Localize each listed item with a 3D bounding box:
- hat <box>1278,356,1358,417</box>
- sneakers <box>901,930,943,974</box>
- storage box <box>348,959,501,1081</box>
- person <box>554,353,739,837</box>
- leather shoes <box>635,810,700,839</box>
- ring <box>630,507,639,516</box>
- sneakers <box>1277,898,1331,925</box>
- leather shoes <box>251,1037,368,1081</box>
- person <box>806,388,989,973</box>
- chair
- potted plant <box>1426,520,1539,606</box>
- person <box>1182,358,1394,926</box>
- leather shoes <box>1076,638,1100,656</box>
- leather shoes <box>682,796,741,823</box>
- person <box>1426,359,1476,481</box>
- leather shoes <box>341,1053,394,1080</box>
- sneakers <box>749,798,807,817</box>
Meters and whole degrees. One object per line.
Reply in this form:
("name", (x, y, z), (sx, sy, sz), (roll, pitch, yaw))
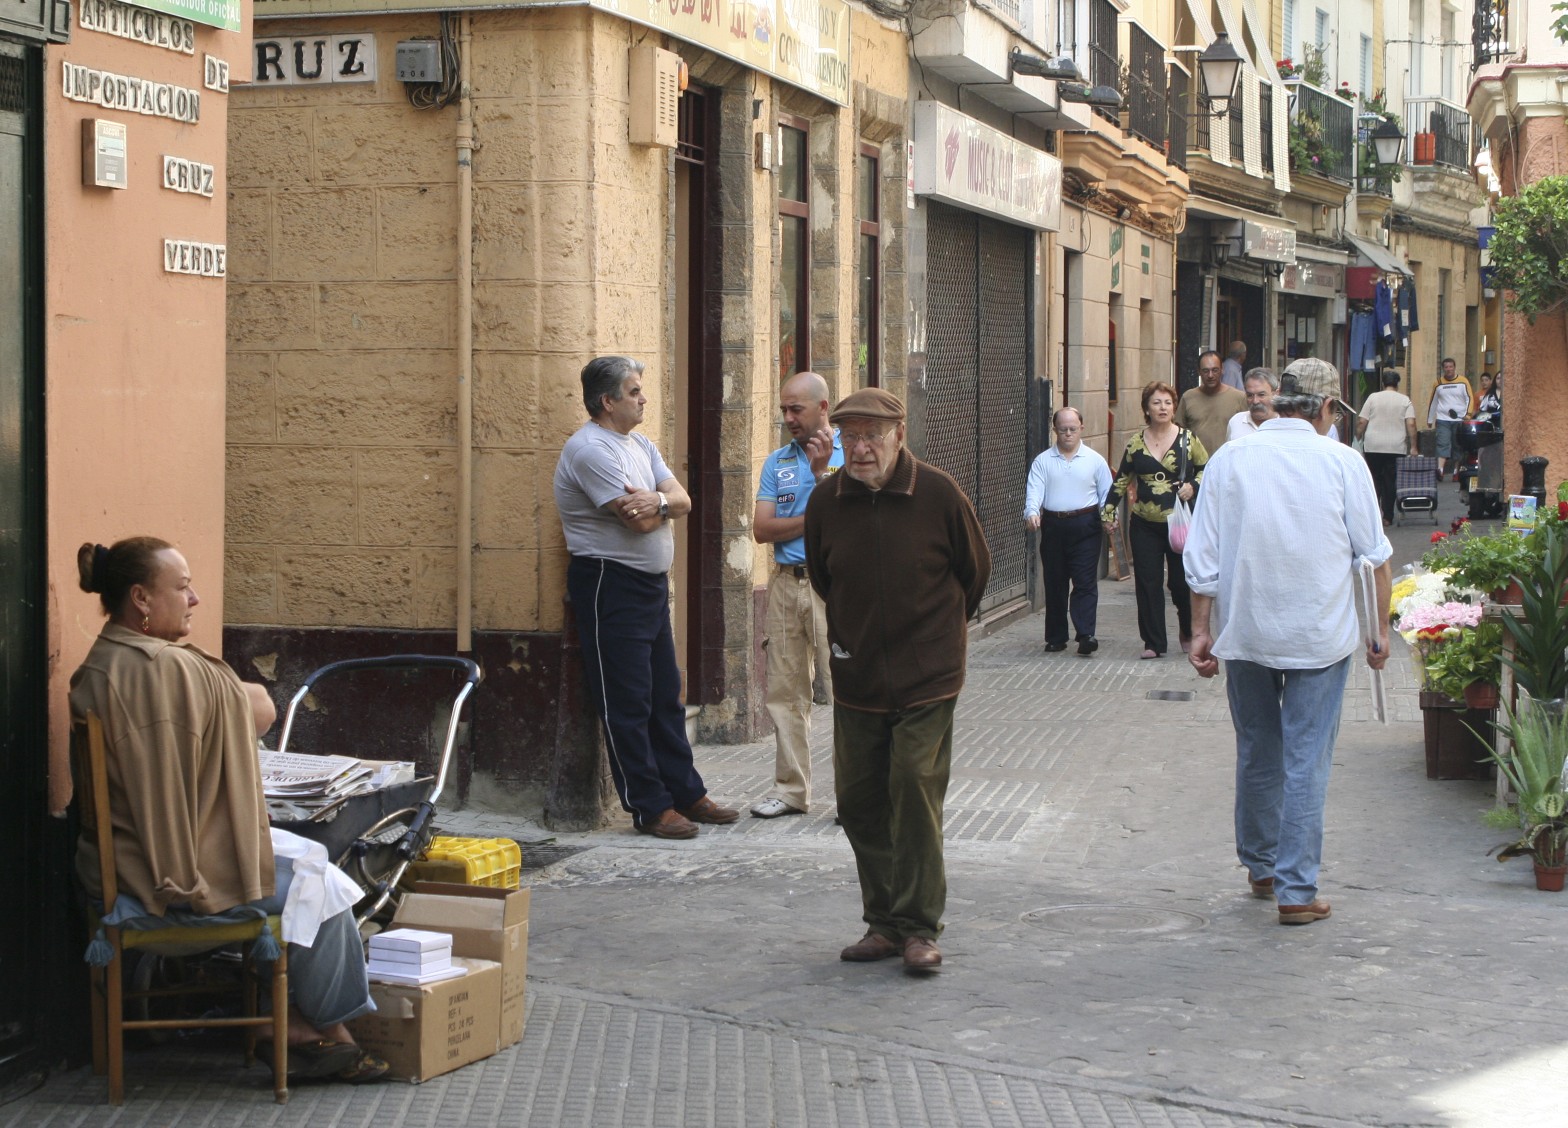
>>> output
("hat", (2.300, -0.805, 9.518), (0.248, 0.219, 0.409), (4, -2, 38))
("sneakers", (0.530, 1.504, 8.432), (0.148, 0.143, 0.184), (0, 6, 3))
("storage box", (-1.258, 1.525, 7.424), (0.364, 0.234, 0.361), (1, 3, 30))
("person", (-0.726, 0.153, 10.621), (0.743, 2.336, 0.522), (-3, 6, -20))
("leather shoes", (-0.558, 1.259, 10.615), (0.251, 0.096, 0.131), (0, 0, 29))
("ring", (-0.712, -0.259, 10.328), (0.041, 0.038, 0.012), (-5, 8, -38))
("sneakers", (2.140, 1.439, 9.026), (0.204, 0.090, 0.087), (-1, 1, -29))
("leather shoes", (-1.540, 1.650, 7.224), (0.422, 0.177, 0.145), (0, 5, -7))
("person", (0.439, 0.444, 8.489), (0.686, 2.221, 0.503), (0, 6, 1))
("chair", (-1.919, 1.117, 7.369), (0.796, 1.217, 0.767), (-2, -6, 13))
("potted plant", (3.575, -0.006, 11.185), (0.533, 0.394, 0.579), (-2, 3, 22))
("person", (2.097, 0.286, 9.269), (0.769, 2.305, 0.779), (4, 7, 34))
("leather shoes", (2.337, 0.626, 16.859), (0.108, 0.147, 0.142), (-3, 0, 4))
("leather shoes", (-0.368, 1.232, 10.935), (0.281, 0.126, 0.112), (0, 0, 3))
("person", (11.079, -2.460, 36.236), (0.756, 2.052, 0.723), (-2, 21, 19))
("leather shoes", (-1.398, 1.666, 7.249), (0.138, 0.060, 0.079), (3, 9, 4))
("sneakers", (-0.032, 1.240, 11.108), (0.287, 0.118, 0.105), (7, -4, -35))
